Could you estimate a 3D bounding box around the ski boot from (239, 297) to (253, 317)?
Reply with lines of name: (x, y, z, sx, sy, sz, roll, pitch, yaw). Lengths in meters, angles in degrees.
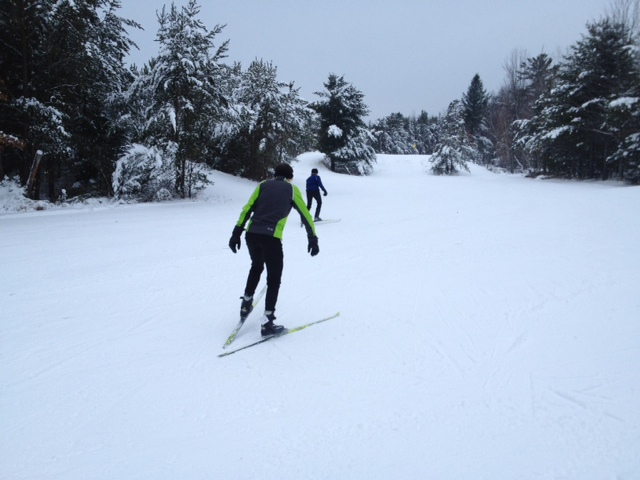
ski boot: (-1.217, 1.104, 7.900, 0.120, 0.316, 0.418, 5, 24, 3)

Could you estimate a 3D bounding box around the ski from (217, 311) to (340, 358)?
ski: (-0.707, 1.578, 7.654, 1.632, 0.215, 0.158, -20, 23, -33)

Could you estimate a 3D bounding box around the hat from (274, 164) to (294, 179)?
hat: (-0.606, -1.189, 8.022, 0.396, 0.264, 0.217, -12, 18, -44)

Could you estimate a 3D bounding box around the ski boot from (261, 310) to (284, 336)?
ski boot: (-0.826, 1.354, 7.722, 0.427, 0.502, 0.212, -5, 7, -34)

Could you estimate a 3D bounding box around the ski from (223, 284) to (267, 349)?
ski: (-1.277, 1.338, 7.936, 0.120, 0.122, 1.340, 18, 48, 15)

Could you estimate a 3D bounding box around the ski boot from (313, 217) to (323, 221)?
ski boot: (-0.064, -0.676, 14.499, 0.245, 0.121, 0.095, -3, 38, -28)
